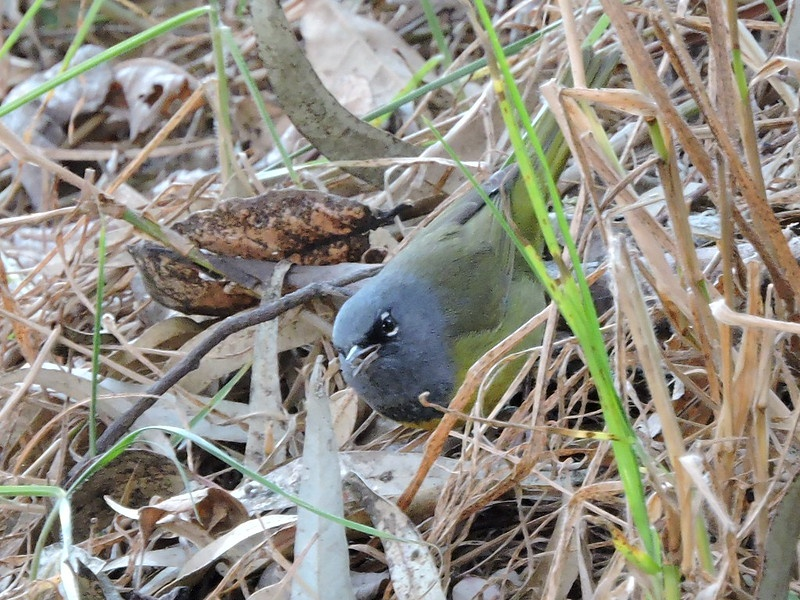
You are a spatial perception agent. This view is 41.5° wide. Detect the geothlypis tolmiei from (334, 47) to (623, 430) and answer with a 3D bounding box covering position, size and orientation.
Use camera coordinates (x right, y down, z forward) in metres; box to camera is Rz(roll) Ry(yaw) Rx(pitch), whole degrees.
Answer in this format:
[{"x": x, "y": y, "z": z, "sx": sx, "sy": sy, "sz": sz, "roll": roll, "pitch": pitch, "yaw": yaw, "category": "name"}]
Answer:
[{"x": 0.209, "y": -0.134, "z": 2.853, "sx": 0.375, "sy": 0.524, "sz": 1.245, "roll": 39, "pitch": 89, "yaw": 7, "category": "geothlypis tolmiei"}]
